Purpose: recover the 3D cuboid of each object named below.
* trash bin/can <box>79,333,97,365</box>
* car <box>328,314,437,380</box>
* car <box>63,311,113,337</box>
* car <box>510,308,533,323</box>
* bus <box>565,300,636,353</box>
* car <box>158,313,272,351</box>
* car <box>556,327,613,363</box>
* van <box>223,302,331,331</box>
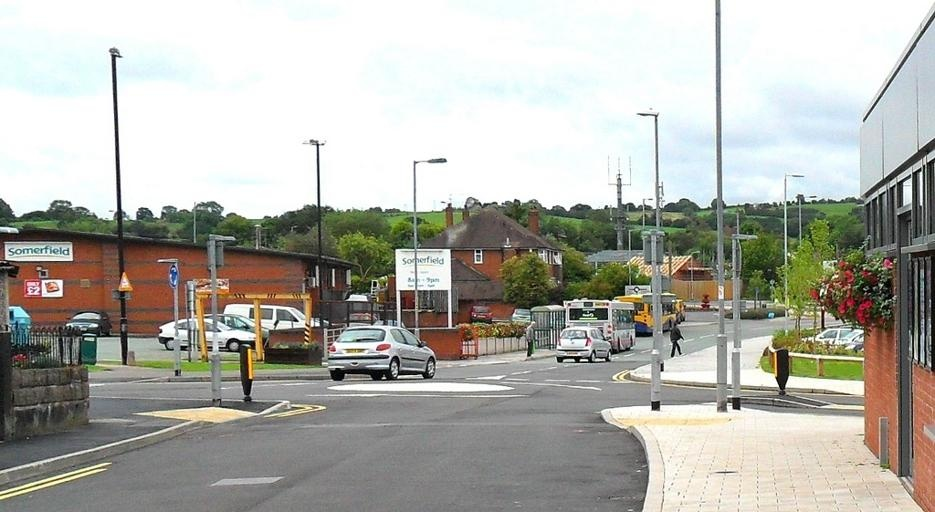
[{"bbox_3d":[-16.519,4.035,53.378,0.580,1.285,0.598,2,-6,-33],"label":"trash bin/can"},{"bbox_3d":[-3.325,3.801,48.445,3.958,2.074,1.810,4,-7,-40],"label":"car"},{"bbox_3d":[-19.624,3.512,63.460,1.584,0.962,2.863,-1,-9,-1],"label":"car"},{"bbox_3d":[4.076,4.348,89.515,1.117,0.818,2.422,2,6,7],"label":"car"},{"bbox_3d":[8.490,4.360,75.170,2.460,3.341,7.636,-2,-3,20],"label":"bus"},{"bbox_3d":[-12.967,4.115,61.474,5.498,2.059,2.262,-1,-2,4],"label":"car"},{"bbox_3d":[6.046,4.481,62.883,1.812,1.756,2.845,-5,-7,39],"label":"car"},{"bbox_3d":[-10.501,3.270,64.734,3.965,1.748,2.176,-1,1,-2],"label":"van"}]
